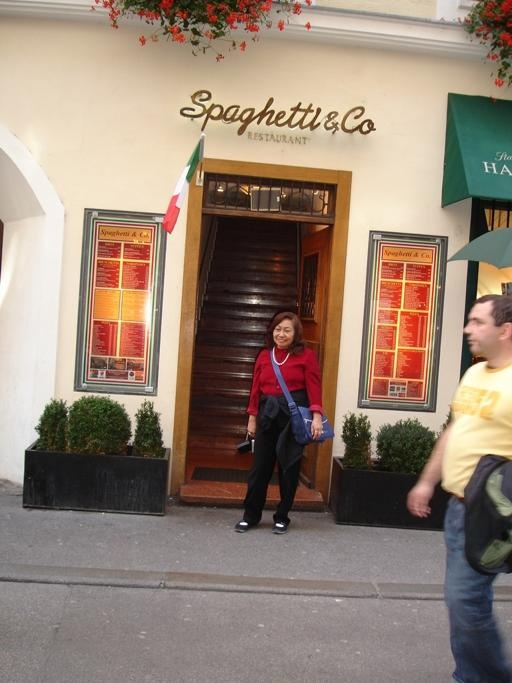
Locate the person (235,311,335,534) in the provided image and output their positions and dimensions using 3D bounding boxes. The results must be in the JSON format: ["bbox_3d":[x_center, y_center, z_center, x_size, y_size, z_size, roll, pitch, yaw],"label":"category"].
[{"bbox_3d":[0.242,0.643,4.817,0.680,1.653,0.378,5,-1,10],"label":"person"}]

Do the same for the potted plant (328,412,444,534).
[{"bbox_3d":[1.339,1.237,5.316,1.018,0.932,0.619,0,-31,29],"label":"potted plant"}]

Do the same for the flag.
[{"bbox_3d":[-0.608,-1.349,5.178,0.276,0.853,0.792,5,-1,-7],"label":"flag"}]

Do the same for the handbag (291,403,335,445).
[{"bbox_3d":[0.433,0.641,4.812,0.443,0.370,0.168,9,-31,-39],"label":"handbag"}]

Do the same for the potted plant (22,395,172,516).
[{"bbox_3d":[-1.334,0.923,5.220,1.157,0.890,0.578,5,-1,-10],"label":"potted plant"}]
